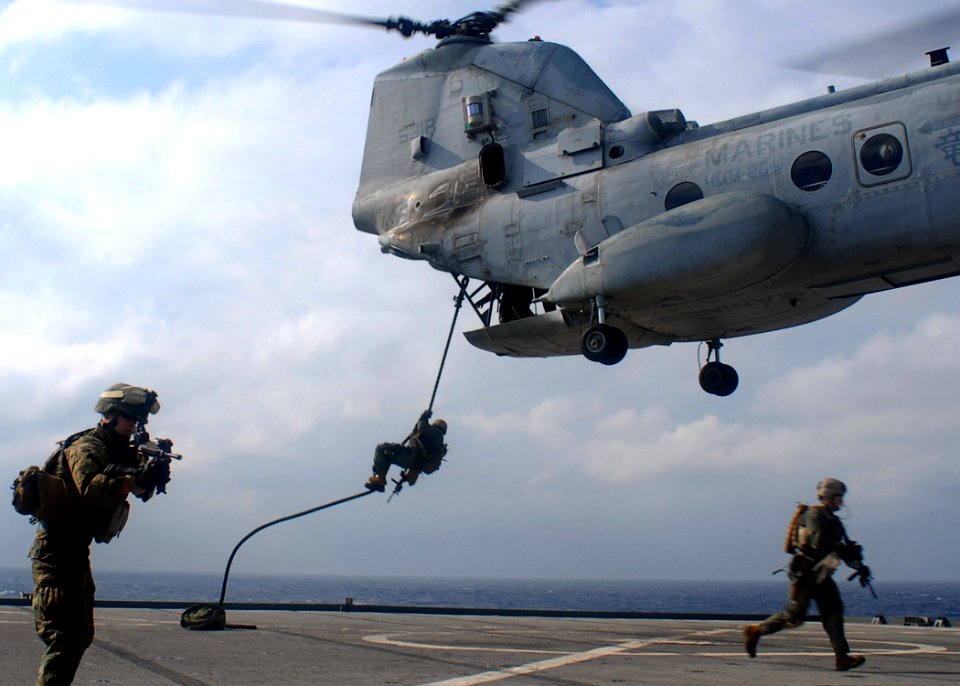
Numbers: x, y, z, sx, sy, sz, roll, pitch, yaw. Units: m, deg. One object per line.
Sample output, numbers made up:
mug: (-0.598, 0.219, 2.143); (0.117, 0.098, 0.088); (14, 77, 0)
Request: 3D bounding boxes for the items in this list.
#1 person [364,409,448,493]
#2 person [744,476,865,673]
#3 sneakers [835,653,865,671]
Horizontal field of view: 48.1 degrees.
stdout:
person: (-1.316, 2.001, 20.332); (1.377, 1.489, 0.584); (7, -12, -41)
person: (4.383, 3.027, 14.250); (1.479, 2.406, 0.779); (-3, -10, 16)
sneakers: (4.767, 4.068, 13.765); (0.488, 0.198, 0.227); (2, -9, -19)
